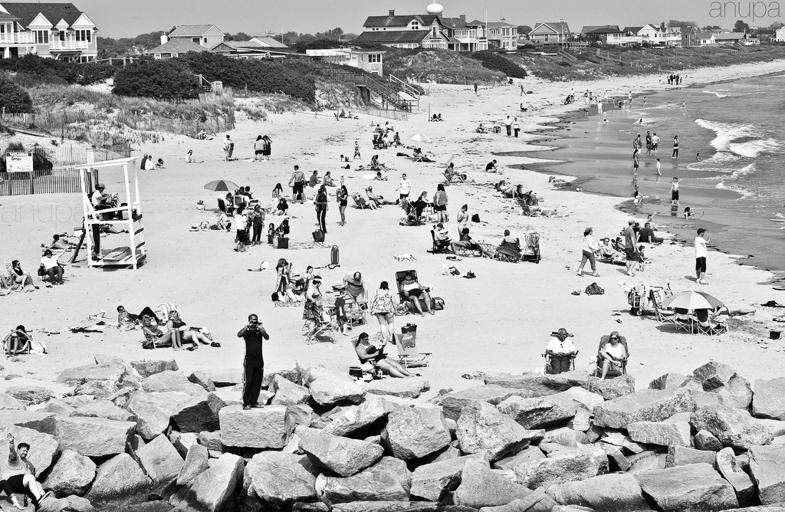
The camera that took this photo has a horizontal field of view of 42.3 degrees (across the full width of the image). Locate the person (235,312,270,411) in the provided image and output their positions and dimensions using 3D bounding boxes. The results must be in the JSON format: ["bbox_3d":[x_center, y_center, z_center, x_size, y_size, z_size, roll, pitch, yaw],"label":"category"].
[{"bbox_3d":[-3.105,2.290,22.752,0.684,2.012,1.137,-5,10,-8],"label":"person"}]

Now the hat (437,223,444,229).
[{"bbox_3d":[1.785,-1.144,37.388,0.202,0.277,0.268,-2,14,1],"label":"hat"}]

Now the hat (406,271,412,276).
[{"bbox_3d":[0.540,0.535,30.127,0.132,0.124,0.161,1,0,7],"label":"hat"}]
